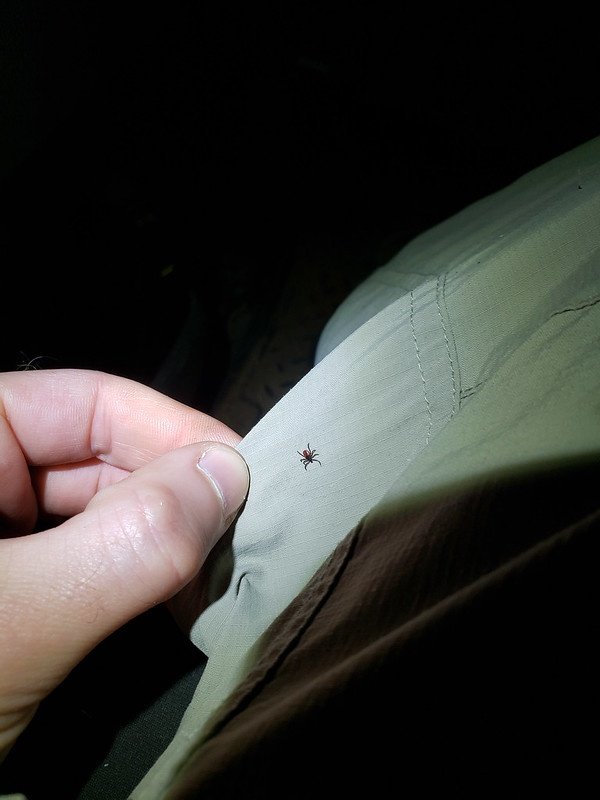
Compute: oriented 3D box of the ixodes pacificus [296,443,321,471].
[{"bbox_3d":[0.010,0.070,0.890,0.026,0.011,0.033,-18,88,16],"label":"ixodes pacificus"}]
